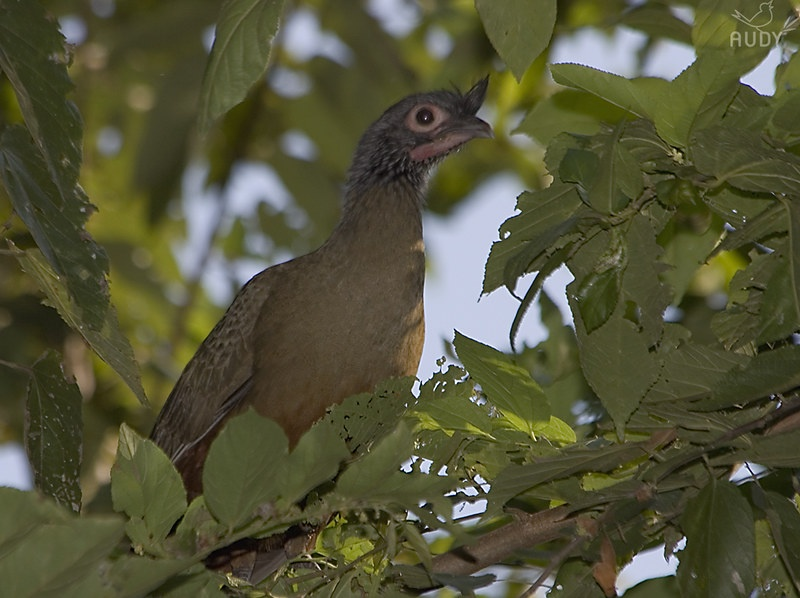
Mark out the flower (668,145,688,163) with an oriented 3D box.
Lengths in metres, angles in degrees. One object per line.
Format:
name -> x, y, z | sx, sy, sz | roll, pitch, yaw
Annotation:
flower -> 0.979, -0.510, 5.111 | 0.058, 0.050, 0.033 | 0, -45, 2
